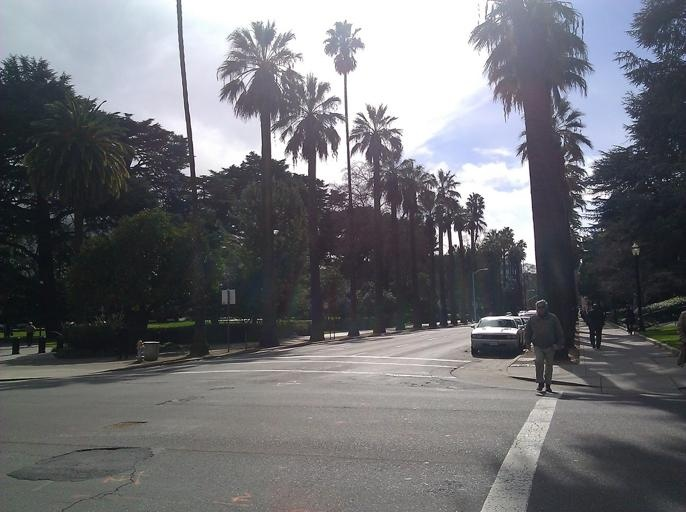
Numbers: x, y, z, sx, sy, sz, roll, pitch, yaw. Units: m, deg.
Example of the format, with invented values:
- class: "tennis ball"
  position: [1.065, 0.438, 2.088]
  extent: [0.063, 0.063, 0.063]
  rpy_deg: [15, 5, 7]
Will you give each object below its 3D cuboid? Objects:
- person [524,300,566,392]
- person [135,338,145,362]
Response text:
- class: "person"
  position: [5.369, 2.378, 14.251]
  extent: [0.929, 2.444, 1.252]
  rpy_deg: [-6, -9, 21]
- class: "person"
  position: [-9.893, 4.766, 26.325]
  extent: [0.317, 1.042, 2.297]
  rpy_deg: [0, -12, -22]
